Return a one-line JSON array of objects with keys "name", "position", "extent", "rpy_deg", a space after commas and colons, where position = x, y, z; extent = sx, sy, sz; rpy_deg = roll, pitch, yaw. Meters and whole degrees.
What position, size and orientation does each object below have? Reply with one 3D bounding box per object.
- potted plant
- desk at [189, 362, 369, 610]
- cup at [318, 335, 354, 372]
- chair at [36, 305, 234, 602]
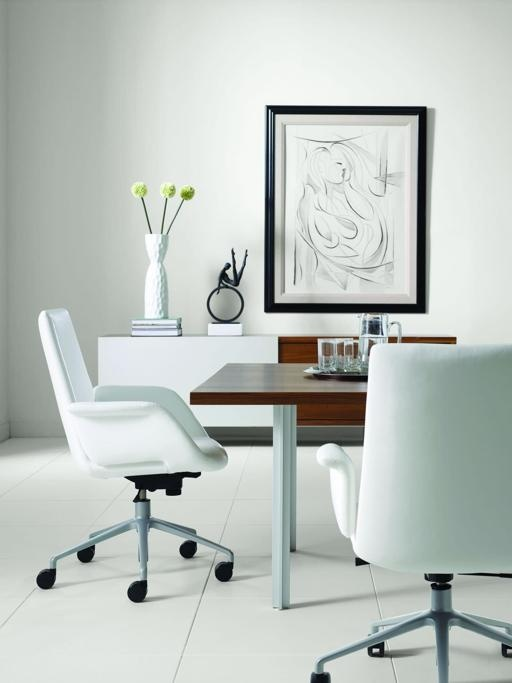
[{"name": "potted plant", "position": [-0.589, -0.581, 4.359], "extent": [0.403, 0.901, 0.409], "rpy_deg": [0, 2, -10]}, {"name": "desk", "position": [0.043, 0.380, 1.971], "extent": [0.528, 0.391, 0.628], "rpy_deg": [0, 1, 0]}, {"name": "cup", "position": [0.255, 0.037, 2.137], "extent": [0.102, 0.101, 0.102], "rpy_deg": [0, 3, 0]}, {"name": "chair", "position": [-0.380, 0.305, 2.379], "extent": [0.786, 1.049, 0.775], "rpy_deg": [0, 1, -2]}]
